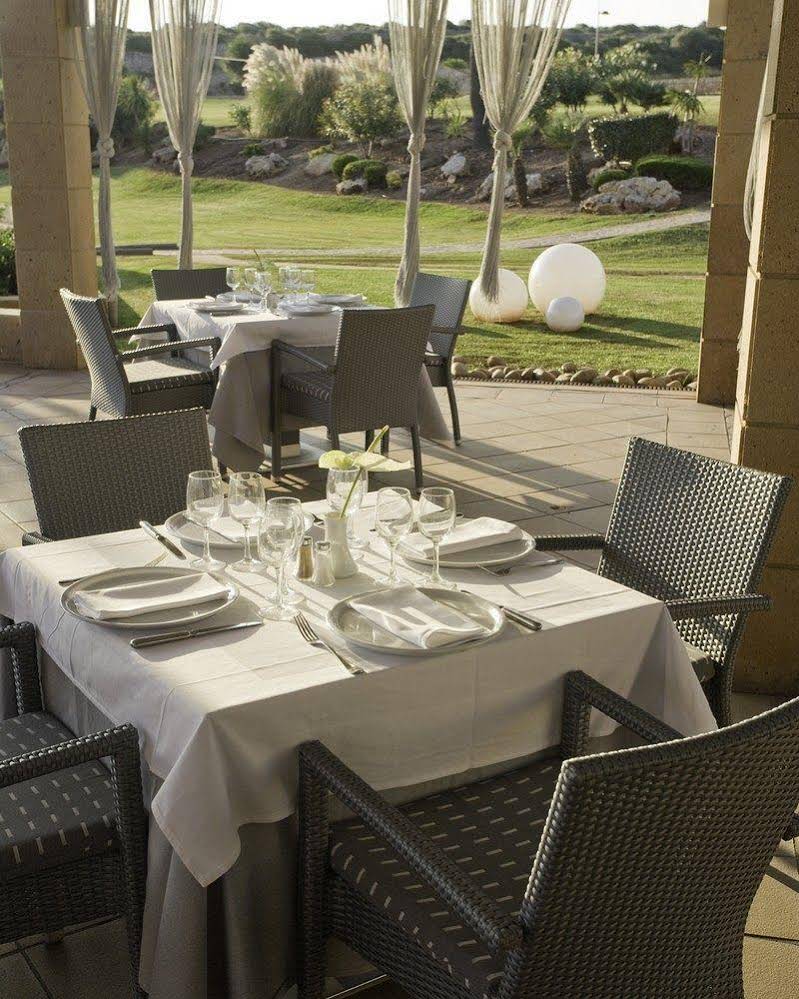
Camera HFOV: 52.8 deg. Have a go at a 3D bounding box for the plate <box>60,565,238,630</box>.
[{"bbox_3d":[-0.424,0.167,1.358,0.273,0.037,0.244,14,20,35],"label":"plate"}]

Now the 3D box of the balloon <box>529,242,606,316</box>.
[{"bbox_3d":[2.120,-2.858,10.378,0.824,0.940,0.973,-9,22,-27],"label":"balloon"}]

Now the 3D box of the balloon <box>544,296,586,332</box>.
[{"bbox_3d":[1.996,-2.264,9.570,0.437,0.411,0.412,11,58,31],"label":"balloon"}]

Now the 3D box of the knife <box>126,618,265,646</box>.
[{"bbox_3d":[-0.316,0.208,1.257,0.205,0.015,0.046,-5,18,-22],"label":"knife"}]

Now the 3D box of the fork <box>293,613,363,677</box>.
[{"bbox_3d":[-0.119,0.218,1.221,0.034,0.012,0.222,-9,20,-34],"label":"fork"}]
